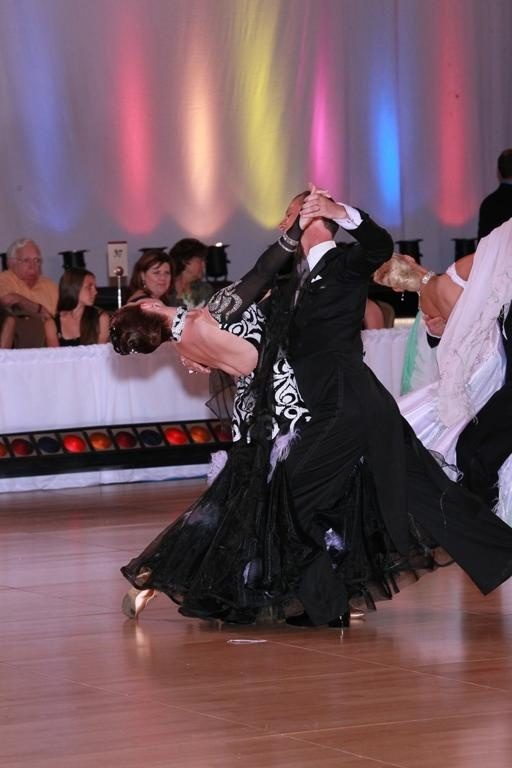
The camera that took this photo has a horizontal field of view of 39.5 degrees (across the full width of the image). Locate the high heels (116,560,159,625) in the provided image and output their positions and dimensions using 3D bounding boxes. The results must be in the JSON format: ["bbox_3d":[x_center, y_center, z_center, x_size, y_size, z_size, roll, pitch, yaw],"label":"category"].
[{"bbox_3d":[-0.368,0.657,2.212,0.101,0.191,0.076,32,0,-24],"label":"high heels"}]

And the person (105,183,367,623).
[{"bbox_3d":[-0.123,0.126,2.043,0.559,1.135,0.392,-3,3,-8],"label":"person"}]
